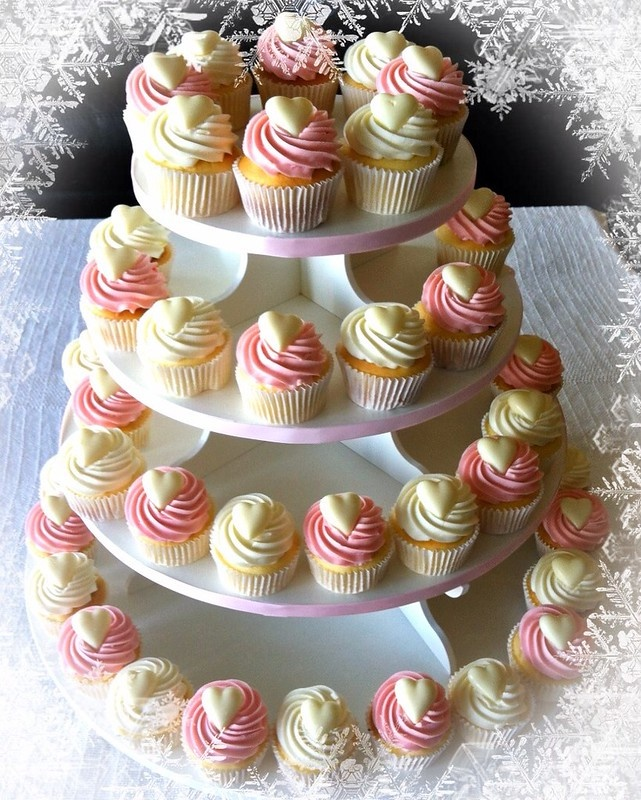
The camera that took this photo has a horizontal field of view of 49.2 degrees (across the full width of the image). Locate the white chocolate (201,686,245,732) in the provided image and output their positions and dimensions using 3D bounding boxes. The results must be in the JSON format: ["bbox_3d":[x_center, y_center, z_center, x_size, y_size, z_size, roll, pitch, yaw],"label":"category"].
[{"bbox_3d":[-0.247,0.778,1.773,0.097,0.050,0.108,8,65,-17],"label":"white chocolate"}]

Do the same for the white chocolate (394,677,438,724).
[{"bbox_3d":[0.244,0.765,1.818,0.103,0.096,0.099,35,53,26],"label":"white chocolate"}]

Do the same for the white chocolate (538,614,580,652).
[{"bbox_3d":[0.687,0.676,2.023,0.095,0.050,0.084,10,44,-26],"label":"white chocolate"}]

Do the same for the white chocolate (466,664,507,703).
[{"bbox_3d":[0.459,0.772,1.929,0.100,0.041,0.094,-12,53,-12],"label":"white chocolate"}]

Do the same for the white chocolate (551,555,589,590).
[{"bbox_3d":[0.773,0.542,2.178,0.082,0.041,0.075,-17,42,-19],"label":"white chocolate"}]

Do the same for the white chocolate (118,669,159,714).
[{"bbox_3d":[-0.521,0.811,1.962,0.115,0.074,0.111,7,45,2],"label":"white chocolate"}]

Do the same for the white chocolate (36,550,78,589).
[{"bbox_3d":[-0.831,0.532,2.224,0.108,0.049,0.110,-8,88,-19],"label":"white chocolate"}]
